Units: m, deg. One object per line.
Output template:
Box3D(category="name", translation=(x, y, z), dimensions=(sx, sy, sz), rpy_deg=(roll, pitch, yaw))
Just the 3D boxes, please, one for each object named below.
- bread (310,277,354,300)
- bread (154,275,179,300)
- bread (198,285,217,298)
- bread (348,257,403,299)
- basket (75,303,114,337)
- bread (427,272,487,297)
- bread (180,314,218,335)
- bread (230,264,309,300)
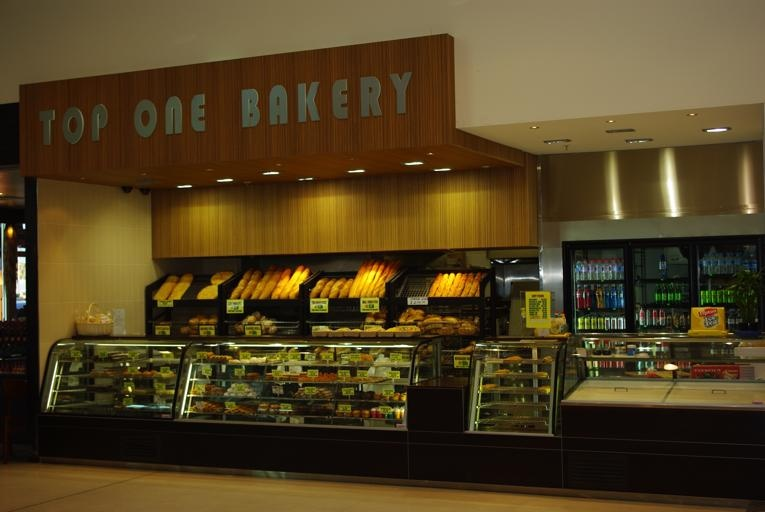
Box3D(category="bread", translation=(-0.718, 0.427, 8.438), dimensions=(0.375, 0.091, 0.340), rpy_deg=(-2, 19, 8))
Box3D(category="bread", translation=(-3.160, 0.470, 9.094), dimensions=(0.163, 0.120, 0.492), rpy_deg=(6, 35, 20))
Box3D(category="bread", translation=(-2.493, 0.521, 8.814), dimensions=(0.256, 0.130, 0.184), rpy_deg=(-21, 39, -23))
Box3D(category="bread", translation=(-0.167, 0.303, 8.332), dimensions=(0.465, 0.560, 0.167), rpy_deg=(4, -40, 20))
Box3D(category="basket", translation=(-3.669, 0.812, 8.019), dimensions=(0.487, 0.354, 0.455), rpy_deg=(-1, -5, 18))
Box3D(category="bread", translation=(0.907, 0.374, 7.982), dimensions=(0.444, 0.096, 0.419), rpy_deg=(0, 40, 17))
Box3D(category="bread", translation=(-2.595, 0.975, 8.768), dimensions=(0.382, 0.132, 0.370), rpy_deg=(1, -2, 8))
Box3D(category="bread", translation=(-1.573, 0.380, 8.752), dimensions=(0.682, 0.163, 0.640), rpy_deg=(-1, 20, 11))
